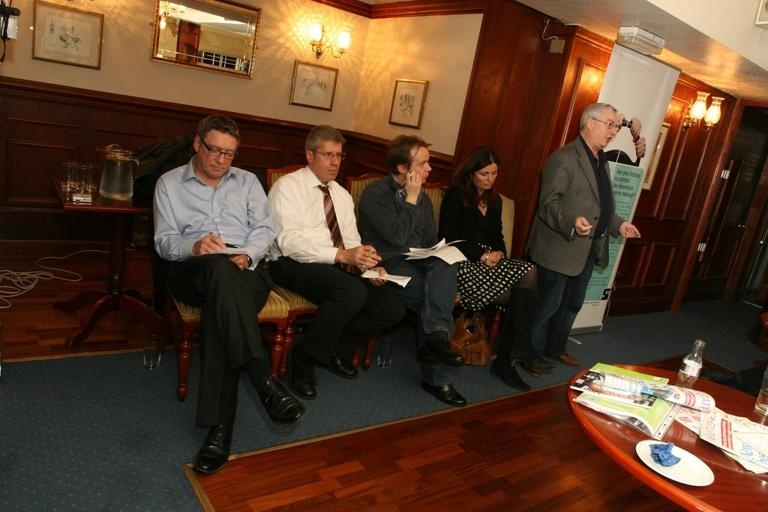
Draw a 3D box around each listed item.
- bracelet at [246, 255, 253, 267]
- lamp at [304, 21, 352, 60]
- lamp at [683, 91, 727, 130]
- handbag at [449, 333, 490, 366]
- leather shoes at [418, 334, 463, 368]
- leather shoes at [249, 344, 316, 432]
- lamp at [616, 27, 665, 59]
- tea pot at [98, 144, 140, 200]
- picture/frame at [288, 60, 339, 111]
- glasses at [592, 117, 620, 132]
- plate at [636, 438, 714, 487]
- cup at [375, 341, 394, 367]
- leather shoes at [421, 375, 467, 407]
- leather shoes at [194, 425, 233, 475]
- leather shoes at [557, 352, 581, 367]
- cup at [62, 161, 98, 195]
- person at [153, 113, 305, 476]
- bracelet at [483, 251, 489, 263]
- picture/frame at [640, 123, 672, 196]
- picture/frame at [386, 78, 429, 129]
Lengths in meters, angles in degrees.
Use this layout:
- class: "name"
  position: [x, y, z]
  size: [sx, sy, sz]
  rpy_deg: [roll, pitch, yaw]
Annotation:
- class: "bracelet"
  position: [-0.849, 0.033, 2.996]
  size: [0.048, 0.048, 0.055]
  rpy_deg: [3, -4, -17]
- class: "lamp"
  position: [-0.684, -2.595, 5.752]
  size: [0.540, 0.378, 0.256]
  rpy_deg: [23, 16, 20]
- class: "lamp"
  position: [3.698, -1.645, 5.504]
  size: [0.297, 0.375, 0.272]
  rpy_deg: [19, 16, 26]
- class: "handbag"
  position: [0.703, 0.749, 3.884]
  size: [0.233, 0.120, 0.286]
  rpy_deg: [6, -2, -29]
- class: "leather shoes"
  position: [0.399, 0.666, 3.351]
  size: [0.105, 0.263, 0.330]
  rpy_deg: [-11, 26, -40]
- class: "leather shoes"
  position: [-0.646, 0.704, 2.805]
  size: [0.210, 0.237, 0.574]
  rpy_deg: [-26, 46, -29]
- class: "lamp"
  position: [2.197, -1.848, 4.083]
  size: [0.439, 0.193, 0.150]
  rpy_deg: [-2, 21, -21]
- class: "tea pot"
  position: [-1.824, -0.560, 3.224]
  size: [0.199, 0.353, 0.191]
  rpy_deg: [6, 20, -2]
- class: "picture/frame"
  position: [-0.881, -2.075, 5.716]
  size: [0.654, 0.605, 0.043]
  rpy_deg: [-6, 19, -40]
- class: "glasses"
  position: [1.760, -1.064, 3.793]
  size: [0.150, 0.044, 0.145]
  rpy_deg: [30, 20, 34]
- class: "plate"
  position: [1.298, 0.908, 2.121]
  size: [0.327, 0.106, 0.203]
  rpy_deg: [17, 23, 28]
- class: "cup"
  position: [-0.001, 0.762, 3.722]
  size: [0.099, 0.187, 0.044]
  rpy_deg: [6, -12, -3]
- class: "leather shoes"
  position: [0.423, 0.964, 3.458]
  size: [0.356, 0.138, 0.131]
  rpy_deg: [17, 28, 31]
- class: "leather shoes"
  position: [-0.914, 1.036, 2.605]
  size: [0.117, 0.113, 0.301]
  rpy_deg: [26, 5, -7]
- class: "leather shoes"
  position: [1.621, 0.901, 4.201]
  size: [0.194, 0.074, 0.095]
  rpy_deg: [8, 19, 27]
- class: "cup"
  position: [-2.131, -0.527, 3.289]
  size: [0.247, 0.233, 0.228]
  rpy_deg: [5, 5, 0]
- class: "person"
  position: [-0.944, 0.109, 2.852]
  size: [0.747, 1.743, 1.239]
  rpy_deg: [-4, 22, -26]
- class: "bracelet"
  position: [0.801, 0.011, 3.791]
  size: [0.050, 0.068, 0.049]
  rpy_deg: [10, 20, 10]
- class: "picture/frame"
  position: [3.010, -1.102, 5.279]
  size: [0.067, 0.729, 0.334]
  rpy_deg: [20, 24, 33]
- class: "picture/frame"
  position: [0.278, -1.716, 5.349]
  size: [0.076, 0.537, 0.559]
  rpy_deg: [0, 19, -44]
